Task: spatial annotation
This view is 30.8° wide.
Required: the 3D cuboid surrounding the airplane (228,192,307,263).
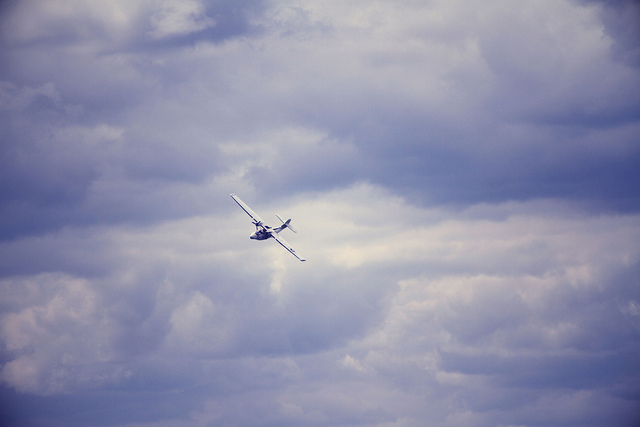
[{"bbox_3d":[-2.442,0.712,57.116,2.715,4.590,0.723,-17,-47,-52],"label":"airplane"}]
